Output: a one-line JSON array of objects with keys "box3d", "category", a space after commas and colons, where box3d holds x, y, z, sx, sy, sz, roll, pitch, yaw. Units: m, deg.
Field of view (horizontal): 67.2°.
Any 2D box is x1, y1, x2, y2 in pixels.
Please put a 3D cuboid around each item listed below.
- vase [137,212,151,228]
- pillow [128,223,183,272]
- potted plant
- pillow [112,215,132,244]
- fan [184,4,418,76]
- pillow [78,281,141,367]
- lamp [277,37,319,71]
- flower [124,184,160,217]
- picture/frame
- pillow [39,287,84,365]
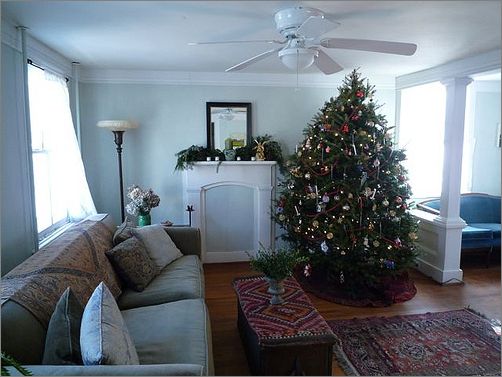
[{"box3d": [-1.374, 0.400, 4.902, 0.193, 0.315, 0.200, -1, 5, -15], "category": "vase"}, {"box3d": [-0.999, 0.600, 3.930, 0.123, 0.398, 0.432, -35, -2, 25], "category": "pillow"}, {"box3d": [0.258, 0.652, 3.441, 0.504, 0.412, 0.534, 0, 4, -1], "category": "potted plant"}, {"box3d": [-1.306, 0.443, 3.810, 0.173, 0.167, 0.517, -2, 10, -11], "category": "pillow"}, {"box3d": [0.487, -1.240, 3.162, 1.030, 0.484, 1.422, -11, 17, -37], "category": "fan"}, {"box3d": [-0.931, 0.889, 2.456, 0.188, 0.329, 0.487, -5, 12, -20], "category": "pillow"}, {"box3d": [0.384, -1.113, 3.175, 0.240, 0.169, 0.239, 0, 6, -1], "category": "lamp"}, {"box3d": [-1.432, 0.128, 5.039, 0.430, 0.441, 0.423, 2, 7, 5], "category": "flower"}, {"box3d": [-0.346, -0.847, 5.384, 0.823, 0.911, 0.039, 0, 4, -9], "category": "picture/frame"}, {"box3d": [-1.160, 0.854, 2.299, 0.119, 0.303, 0.318, -8, -21, -10], "category": "pillow"}]
